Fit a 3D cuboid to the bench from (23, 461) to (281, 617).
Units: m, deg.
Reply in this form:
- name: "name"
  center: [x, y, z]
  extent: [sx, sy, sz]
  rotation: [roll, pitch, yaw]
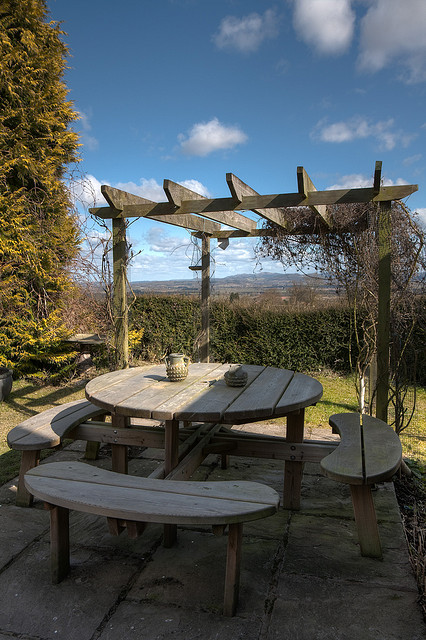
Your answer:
- name: "bench"
  center: [-0.316, 0.978, 2.046]
  extent: [1.092, 0.514, 0.533]
  rotation: [4, 3, 8]

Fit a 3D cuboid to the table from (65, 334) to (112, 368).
- name: "table"
  center: [-1.977, 0.418, 7.240]
  extent: [0.567, 0.384, 0.572]
  rotation: [3, 9, 12]

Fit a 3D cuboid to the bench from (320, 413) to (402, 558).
- name: "bench"
  center: [0.793, 0.895, 2.454]
  extent: [0.387, 0.541, 0.915]
  rotation: [1, 3, 17]

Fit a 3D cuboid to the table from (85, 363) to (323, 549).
- name: "table"
  center: [0.018, 0.514, 2.794]
  extent: [1.083, 0.573, 1.113]
  rotation: [0, 1, 22]

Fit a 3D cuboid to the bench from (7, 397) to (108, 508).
- name: "bench"
  center: [-0.924, 0.801, 2.790]
  extent: [0.547, 0.539, 0.598]
  rotation: [15, 10, 6]
